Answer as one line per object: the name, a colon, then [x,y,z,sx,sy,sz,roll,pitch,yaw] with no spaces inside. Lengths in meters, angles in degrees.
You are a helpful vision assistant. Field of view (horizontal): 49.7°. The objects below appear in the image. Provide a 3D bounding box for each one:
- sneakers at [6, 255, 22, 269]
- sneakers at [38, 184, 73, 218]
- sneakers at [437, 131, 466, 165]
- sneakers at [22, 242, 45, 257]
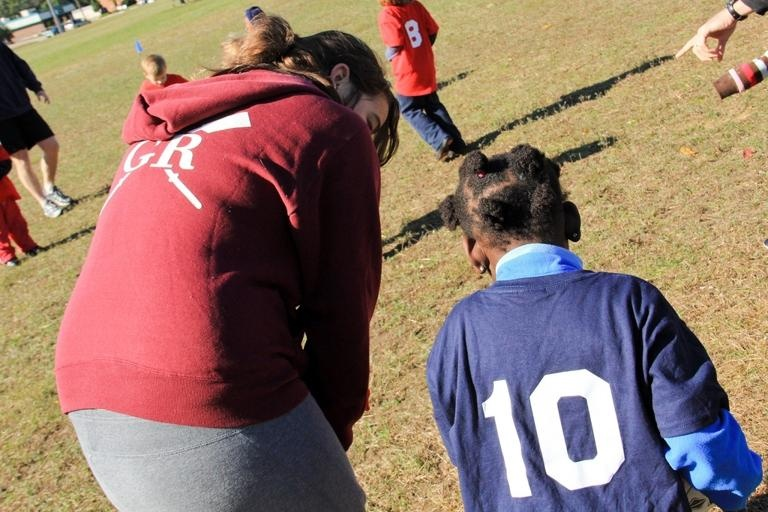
sneakers: [-4.165,0.078,9.269,0.119,0.090,0.121,1,2,5]
sneakers: [-4.158,-0.696,10.329,0.459,0.207,0.249,17,48,33]
sneakers: [0.731,-1.159,8.923,0.174,0.216,0.444,1,-10,-7]
sneakers: [-4.000,-0.076,9.392,0.147,0.135,0.190,-1,-9,-4]
